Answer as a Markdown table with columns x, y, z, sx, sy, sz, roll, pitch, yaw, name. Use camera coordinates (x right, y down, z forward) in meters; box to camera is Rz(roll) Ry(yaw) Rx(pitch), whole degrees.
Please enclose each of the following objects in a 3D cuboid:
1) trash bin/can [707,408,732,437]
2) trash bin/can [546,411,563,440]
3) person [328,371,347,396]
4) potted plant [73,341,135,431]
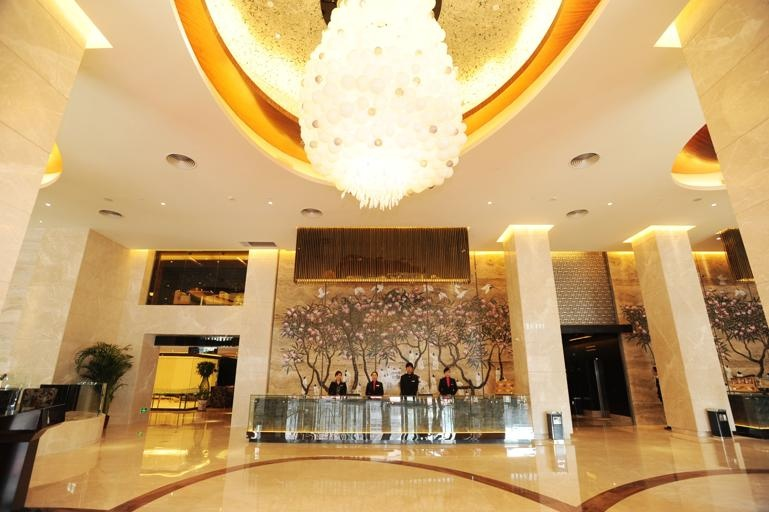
| x | y | z | sx | sy | sz | roll | pitch | yaw | name |
| --- | --- | --- | --- | --- | --- | --- | --- | --- | --- |
| 7.427 | 3.728 | 9.672 | 0.376 | 0.587 | 0.210 | -8 | -15 | 32 | trash bin/can |
| 3.887 | 3.853 | 9.860 | 0.349 | 0.601 | 0.447 | -3 | -13 | 11 | trash bin/can |
| -1.203 | 3.275 | 11.198 | 0.462 | 0.568 | 0.914 | 1 | -12 | -5 | person |
| -7.369 | 3.285 | 11.367 | 0.696 | 2.038 | 1.361 | -1 | -13 | 7 | potted plant |
